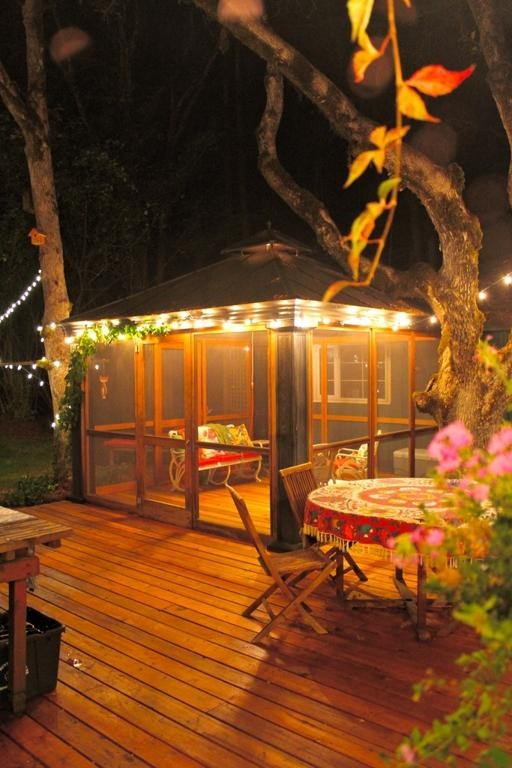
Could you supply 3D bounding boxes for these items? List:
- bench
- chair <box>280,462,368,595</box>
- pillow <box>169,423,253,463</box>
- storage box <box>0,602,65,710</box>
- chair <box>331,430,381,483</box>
[{"bbox_3d":[-0.493,0.915,7.925,0.530,0.682,1.304,15,12,42],"label":"bench"},{"bbox_3d":[0.379,1.042,4.719,0.736,0.871,0.681,-5,-13,-36],"label":"chair"},{"bbox_3d":[-0.404,0.696,8.128,0.486,0.265,0.795,1,3,29],"label":"pillow"},{"bbox_3d":[-1.161,1.424,3.352,0.353,0.341,0.511,1,-7,-22],"label":"storage box"},{"bbox_3d":[1.117,0.881,7.170,0.444,0.538,0.396,1,-1,6],"label":"chair"}]
